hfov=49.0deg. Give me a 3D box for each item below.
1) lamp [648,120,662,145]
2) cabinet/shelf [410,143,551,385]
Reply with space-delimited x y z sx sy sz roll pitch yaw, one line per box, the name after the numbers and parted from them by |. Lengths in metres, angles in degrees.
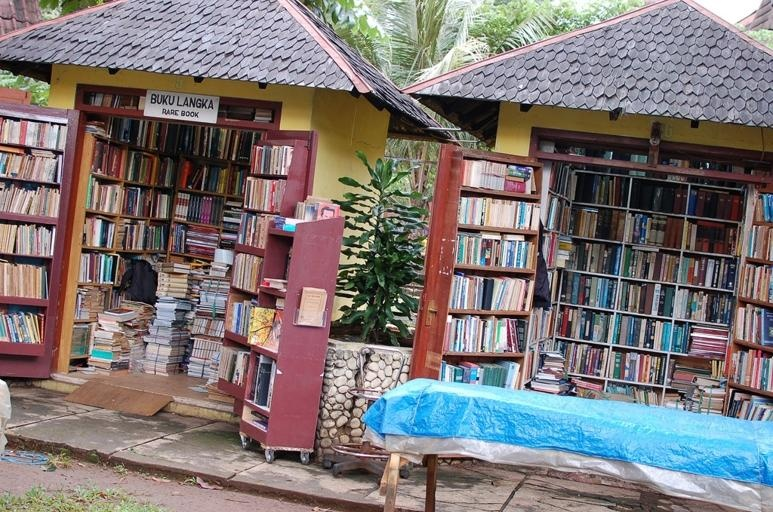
3.137 -1.433 9.930 0.142 0.285 0.208 7 -3 16 | lamp
1.091 0.138 9.893 1.523 2.052 0.522 10 -4 -36 | cabinet/shelf
